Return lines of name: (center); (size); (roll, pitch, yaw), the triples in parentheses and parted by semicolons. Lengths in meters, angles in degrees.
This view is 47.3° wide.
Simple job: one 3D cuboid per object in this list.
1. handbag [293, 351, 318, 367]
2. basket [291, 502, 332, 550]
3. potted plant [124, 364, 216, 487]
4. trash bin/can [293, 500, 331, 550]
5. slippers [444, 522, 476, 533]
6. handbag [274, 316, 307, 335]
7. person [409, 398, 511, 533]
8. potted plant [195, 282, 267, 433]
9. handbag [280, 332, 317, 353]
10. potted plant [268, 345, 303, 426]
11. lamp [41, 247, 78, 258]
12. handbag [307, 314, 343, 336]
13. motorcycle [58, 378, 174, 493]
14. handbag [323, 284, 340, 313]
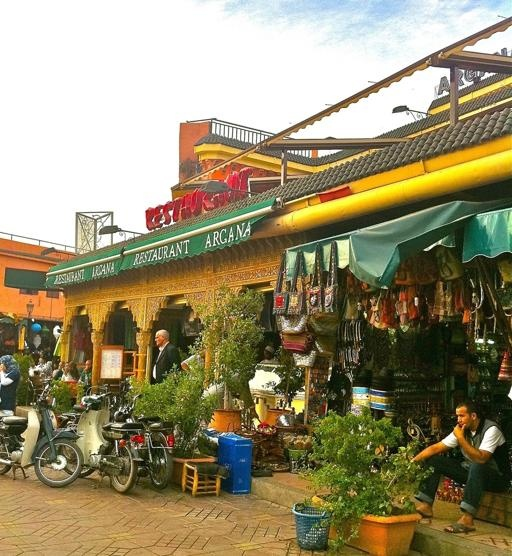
handbag: (0.726, 1.229, 8.672); (0.302, 0.210, 0.276); (2, -13, -6)
basket: (0.462, 2.051, 4.820); (0.365, 0.268, 0.325); (0, -6, 8)
potted plant: (-1.131, 1.886, 7.550); (1.094, 0.953, 1.590); (6, -5, -10)
trash bin/can: (0.469, 2.079, 4.914); (0.366, 0.272, 0.321); (-1, -7, 10)
slippers: (1.678, 2.057, 4.824); (0.227, 0.049, 0.082); (3, -11, -9)
handbag: (0.504, 0.664, 8.332); (0.233, 0.258, 0.582); (3, -8, -22)
person: (2.033, 1.729, 5.610); (1.224, 1.147, 0.895); (5, -10, -23)
potted plant: (-0.368, 1.032, 8.735); (1.000, 1.807, 1.125); (0, -8, 0)
handbag: (0.602, 0.942, 8.531); (0.395, 0.191, 0.309); (1, -6, 9)
potted plant: (0.563, 1.710, 9.895); (0.502, 1.006, 0.817); (-1, -8, 2)
lamp: (-10.539, -1.336, 30.831); (2.409, 0.484, 2.121); (2, 2, 16)
handbag: (1.001, 0.673, 8.506); (0.406, 0.349, 0.163); (-2, -1, -6)
motorcycle: (-1.729, 2.016, 7.467); (0.890, 1.325, 1.644); (5, -9, -34)
handbag: (0.901, 0.242, 7.035); (0.094, 0.342, 0.394); (4, -11, -21)
